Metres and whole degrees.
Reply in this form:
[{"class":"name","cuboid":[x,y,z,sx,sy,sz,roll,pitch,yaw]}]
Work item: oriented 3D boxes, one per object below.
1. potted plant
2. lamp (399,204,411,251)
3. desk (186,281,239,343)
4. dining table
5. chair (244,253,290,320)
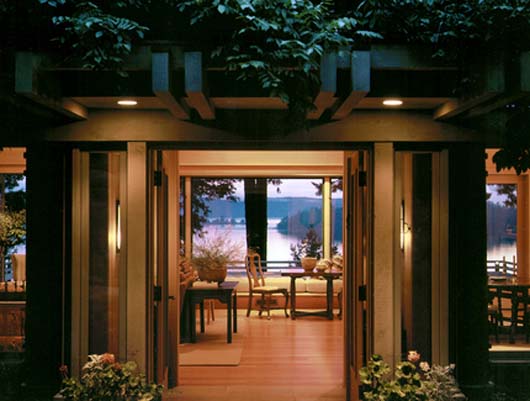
[{"class":"potted plant","cuboid":[-0.538,0.628,8.380,0.496,0.380,0.510,-3,-4,19]},{"class":"lamp","cuboid":[0.980,0.180,5.992,0.113,0.288,0.075,-2,2,14]},{"class":"desk","cuboid":[-0.652,1.179,8.464,0.460,0.501,0.839,2,-12,-17]},{"class":"dining table","cuboid":[0.527,1.090,9.724,0.901,0.497,0.828,5,-7,-25]},{"class":"chair","cuboid":[0.002,0.990,9.885,0.494,0.733,0.466,0,-4,20]}]
